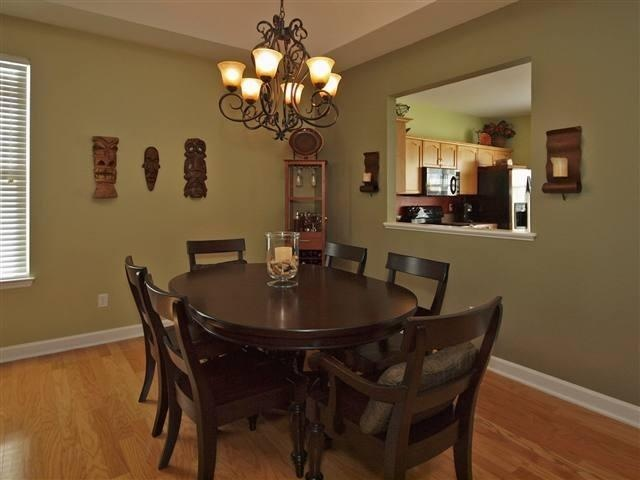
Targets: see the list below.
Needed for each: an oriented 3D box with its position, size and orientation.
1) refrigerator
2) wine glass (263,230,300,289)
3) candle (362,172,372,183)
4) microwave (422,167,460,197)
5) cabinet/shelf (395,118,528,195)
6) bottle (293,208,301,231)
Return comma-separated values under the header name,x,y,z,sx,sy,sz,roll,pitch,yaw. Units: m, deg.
name,x,y,z,sx,sy,sz,roll,pitch,yaw
refrigerator,2.938,-0.669,7.359,0.565,1.107,0.525,-10,11,-42
wine glass,-0.265,0.137,3.308,0.351,0.492,0.308,0,-1,-6
candle,0.513,-0.678,5.092,0.084,0.124,0.119,3,2,8
microwave,1.731,-0.861,6.780,0.429,0.271,0.154,-1,2,-41
cabinet/shelf,1.865,-1.183,6.916,2.678,0.975,0.357,-5,9,-41
bottle,-0.267,-0.231,5.397,0.086,0.234,0.315,0,7,-5
